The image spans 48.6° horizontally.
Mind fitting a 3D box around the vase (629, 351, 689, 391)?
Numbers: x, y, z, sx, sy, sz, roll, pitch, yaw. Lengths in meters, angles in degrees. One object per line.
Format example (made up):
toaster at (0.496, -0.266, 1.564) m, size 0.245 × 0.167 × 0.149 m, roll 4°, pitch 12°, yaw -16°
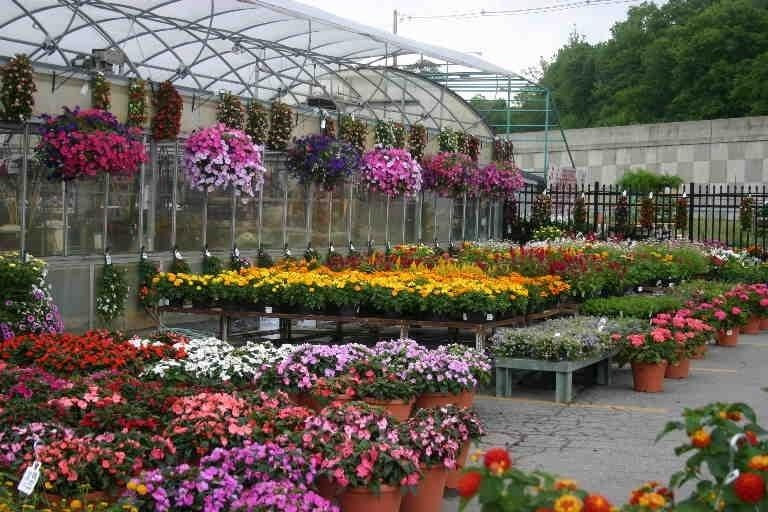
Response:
vase at (3.614, 1.491, 11.103) m, size 0.648 × 0.259 × 0.494 m, roll 5°, pitch -7°, yaw -32°
